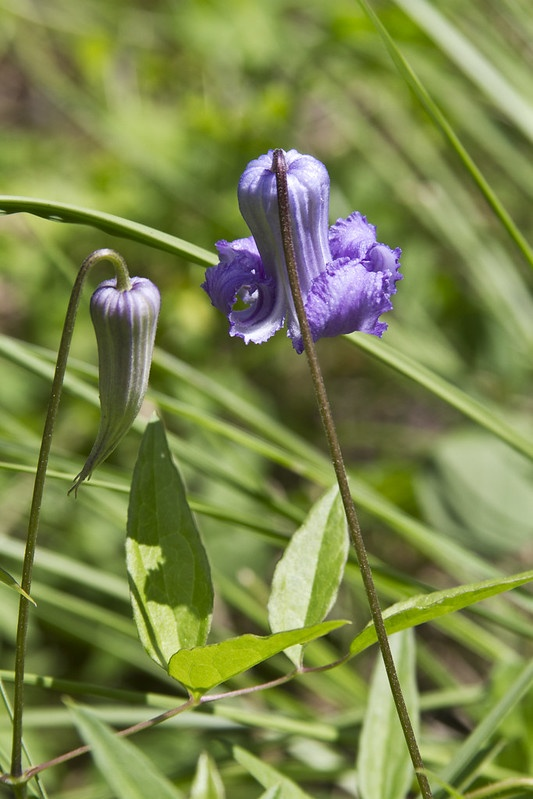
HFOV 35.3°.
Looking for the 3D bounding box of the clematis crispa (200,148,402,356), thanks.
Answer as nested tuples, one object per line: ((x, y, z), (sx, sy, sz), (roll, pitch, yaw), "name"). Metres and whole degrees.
((0.048, -0.189, 1.002), (0.228, 0.236, 0.214), (19, 45, 26), "clematis crispa")

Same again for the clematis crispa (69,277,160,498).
((-0.175, -0.011, 0.977), (0.080, 0.264, 0.163), (5, 10, -9), "clematis crispa")
